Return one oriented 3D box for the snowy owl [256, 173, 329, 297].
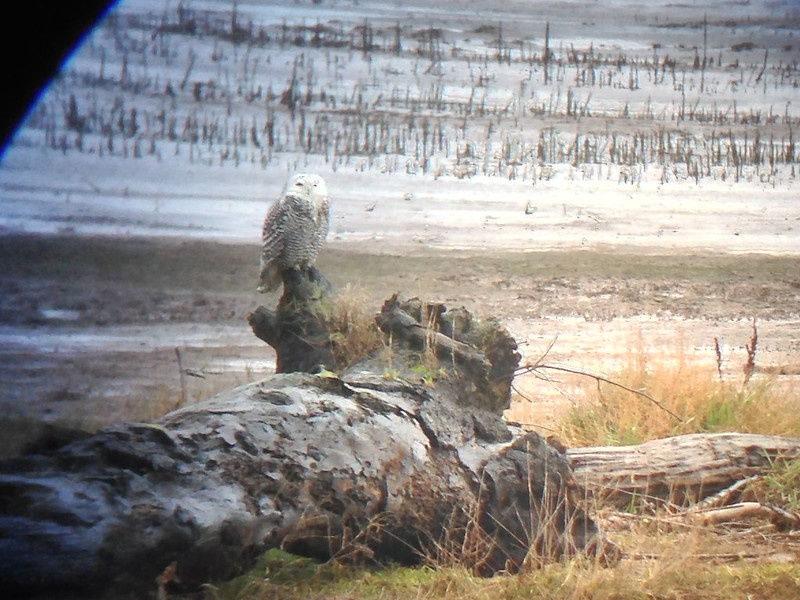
[{"bbox_3d":[-0.837,-0.529,13.352,0.519,0.943,0.365,3,3,-5],"label":"snowy owl"}]
